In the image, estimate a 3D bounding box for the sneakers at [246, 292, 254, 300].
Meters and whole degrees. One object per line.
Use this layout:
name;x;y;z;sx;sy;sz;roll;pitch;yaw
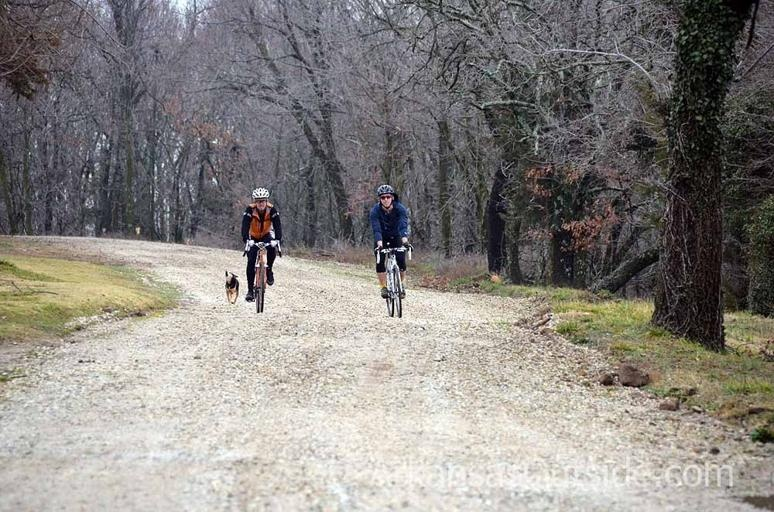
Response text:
sneakers;-3.667;1.091;24.266;0.211;0.216;0.379;2;-1;-11

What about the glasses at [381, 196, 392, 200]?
glasses;-0.008;-1.537;23.828;0.246;0.114;0.158;2;-1;-8

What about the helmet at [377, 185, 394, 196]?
helmet;-0.040;-1.719;23.980;0.387;0.302;0.547;3;-1;-27

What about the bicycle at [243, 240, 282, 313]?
bicycle;-3.383;0.538;24.372;0.481;1.885;0.710;2;0;-7

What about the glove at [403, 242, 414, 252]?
glove;0.601;-0.250;23.980;0.165;0.202;0.505;-25;-10;-8

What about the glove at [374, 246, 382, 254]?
glove;-0.215;-0.150;24.108;0.203;0.227;0.390;2;-1;-1

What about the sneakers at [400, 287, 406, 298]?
sneakers;0.441;0.974;24.442;0.199;0.295;0.098;-1;-7;-12
